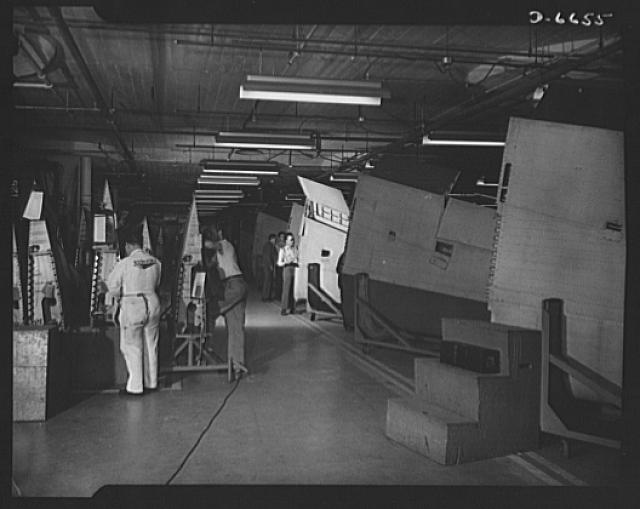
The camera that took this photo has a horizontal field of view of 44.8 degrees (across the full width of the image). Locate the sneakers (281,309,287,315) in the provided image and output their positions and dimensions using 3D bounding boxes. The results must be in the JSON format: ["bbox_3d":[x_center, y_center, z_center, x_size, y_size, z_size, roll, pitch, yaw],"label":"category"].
[{"bbox_3d":[-0.771,1.230,16.688,0.103,0.113,0.197,1,-9,-1],"label":"sneakers"}]

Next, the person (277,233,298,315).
[{"bbox_3d":[-0.674,0.414,16.712,0.409,1.720,0.569,0,13,-4],"label":"person"}]

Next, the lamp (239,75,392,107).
[{"bbox_3d":[-0.080,-2.307,10.787,1.972,0.339,0.650,3,14,4],"label":"lamp"}]

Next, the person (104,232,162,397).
[{"bbox_3d":[-2.358,0.811,10.118,0.464,1.929,0.671,10,15,34],"label":"person"}]

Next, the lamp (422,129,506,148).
[{"bbox_3d":[2.655,-2.144,14.129,1.052,0.273,1.024,6,5,34],"label":"lamp"}]

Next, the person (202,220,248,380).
[{"bbox_3d":[-1.289,0.672,10.917,0.560,2.098,0.858,-6,14,-29],"label":"person"}]
